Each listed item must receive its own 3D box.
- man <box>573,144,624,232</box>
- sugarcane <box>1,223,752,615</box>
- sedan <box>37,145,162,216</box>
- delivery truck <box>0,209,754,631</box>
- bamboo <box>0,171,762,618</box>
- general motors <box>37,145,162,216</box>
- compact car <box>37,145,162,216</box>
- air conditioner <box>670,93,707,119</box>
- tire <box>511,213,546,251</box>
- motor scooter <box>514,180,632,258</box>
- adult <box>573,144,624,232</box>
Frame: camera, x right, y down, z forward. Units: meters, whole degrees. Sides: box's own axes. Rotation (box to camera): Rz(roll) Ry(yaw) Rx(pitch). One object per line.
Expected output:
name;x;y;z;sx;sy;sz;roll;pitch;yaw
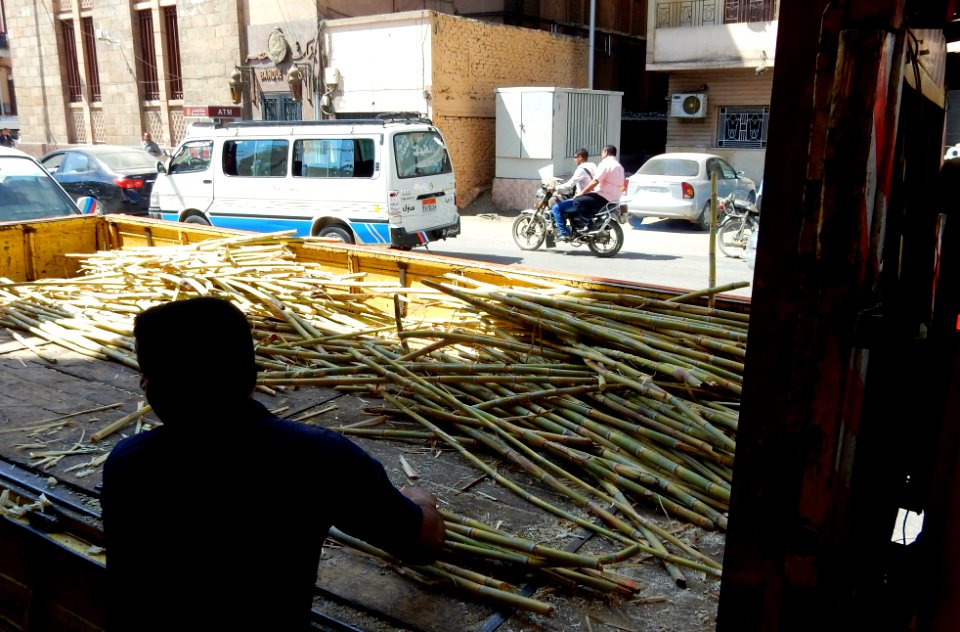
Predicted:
man;1.897;-2.098;11.710;0.751;1.344;0.742;-8;-16;30
sugarcane;-0.603;0.234;4.413;4.145;0.817;2.188;9;18;33
sedan;-7.774;-2.722;14.574;2.866;0.965;1.331;18;23;26
delivery truck;-0.668;0.653;4.503;4.328;0.915;2.338;8;16;30
bamboo;-0.652;0.243;4.430;4.143;0.738;2.244;8;16;34
general motors;-7.856;-2.739;14.604;2.866;0.965;1.331;18;23;26
compact car;-7.674;-2.874;14.457;2.866;0.965;1.331;18;23;26
air conditioner;5.744;-5.640;19.625;1.088;0.715;0.633;4;10;21
tire;0.875;-1.455;12.394;0.588;0.601;0.101;-22;-7;42
motor scooter;1.603;-1.660;12.339;1.981;1.179;1.065;13;29;27
adult;1.921;-2.105;11.702;0.735;1.301;0.756;7;-11;-21
